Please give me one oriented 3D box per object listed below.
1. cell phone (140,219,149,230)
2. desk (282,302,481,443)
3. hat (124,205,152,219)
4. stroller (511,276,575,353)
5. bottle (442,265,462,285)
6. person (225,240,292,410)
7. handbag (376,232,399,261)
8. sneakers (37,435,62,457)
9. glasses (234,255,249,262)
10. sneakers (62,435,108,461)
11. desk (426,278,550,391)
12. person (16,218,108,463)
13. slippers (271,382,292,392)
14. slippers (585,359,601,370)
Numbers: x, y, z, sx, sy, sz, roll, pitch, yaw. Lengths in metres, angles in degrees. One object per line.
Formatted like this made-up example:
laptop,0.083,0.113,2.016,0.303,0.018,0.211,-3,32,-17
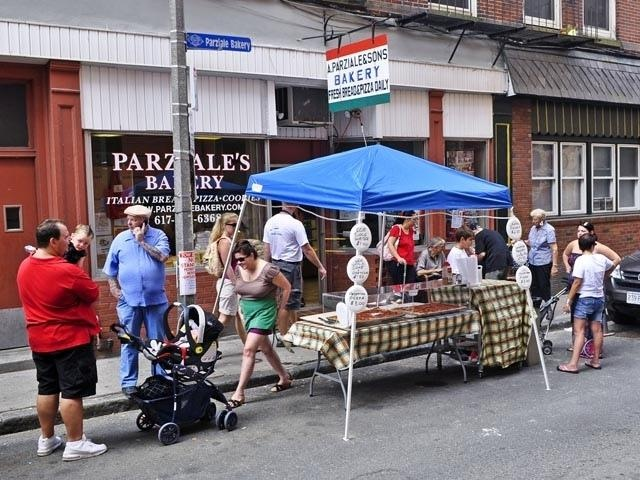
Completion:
cell phone,-2.277,-0.195,10.457,0.090,0.081,0.106,-1,17,-13
desk,0.814,1.405,10.984,2.371,1.395,1.510,-9,14,-36
hat,-2.293,-0.373,10.383,0.218,0.095,0.267,6,4,12
stroller,3.783,1.252,13.362,1.139,1.722,0.921,-1,2,13
bottle,1.898,0.524,11.656,0.212,0.290,0.282,-7,9,-38
person,-0.806,1.095,10.620,1.021,2.186,0.514,-11,15,-43
handbag,1.159,0.112,13.583,0.285,0.548,0.409,16,9,-1
sneakers,-3.127,2.363,9.276,0.128,0.159,0.364,0,4,20
glasses,-1.017,0.243,10.396,0.167,0.090,0.077,6,13,31
sneakers,-2.681,2.380,9.246,0.511,0.245,0.198,0,0,-26
desk,2.474,1.110,11.855,1.878,1.334,1.284,-3,5,-45
person,-2.926,1.124,9.191,0.843,2.653,0.784,-5,12,-22
slippers,-0.536,2.031,11.175,0.108,0.073,0.277,-9,-10,40
slippers,4.003,1.815,11.807,0.086,0.094,0.229,-9,13,-44
